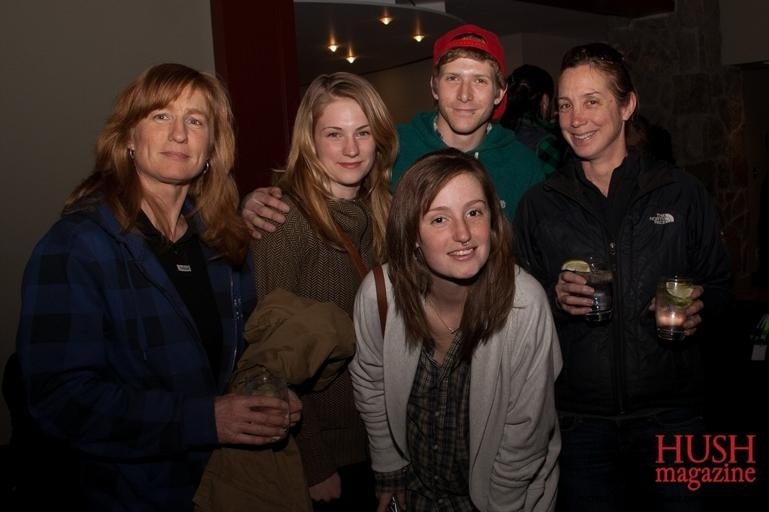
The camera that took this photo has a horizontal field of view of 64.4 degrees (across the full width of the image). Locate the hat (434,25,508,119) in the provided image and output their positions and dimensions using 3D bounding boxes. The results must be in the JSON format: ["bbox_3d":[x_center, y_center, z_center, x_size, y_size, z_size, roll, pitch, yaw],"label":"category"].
[{"bbox_3d":[0.458,-1.003,3.502,0.390,0.531,0.527,0,-1,12],"label":"hat"}]

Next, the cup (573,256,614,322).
[{"bbox_3d":[1.022,0.167,2.992,0.152,0.293,0.166,-1,4,0],"label":"cup"}]

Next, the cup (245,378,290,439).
[{"bbox_3d":[-0.477,0.641,2.574,0.245,0.240,0.237,0,-18,0],"label":"cup"}]
